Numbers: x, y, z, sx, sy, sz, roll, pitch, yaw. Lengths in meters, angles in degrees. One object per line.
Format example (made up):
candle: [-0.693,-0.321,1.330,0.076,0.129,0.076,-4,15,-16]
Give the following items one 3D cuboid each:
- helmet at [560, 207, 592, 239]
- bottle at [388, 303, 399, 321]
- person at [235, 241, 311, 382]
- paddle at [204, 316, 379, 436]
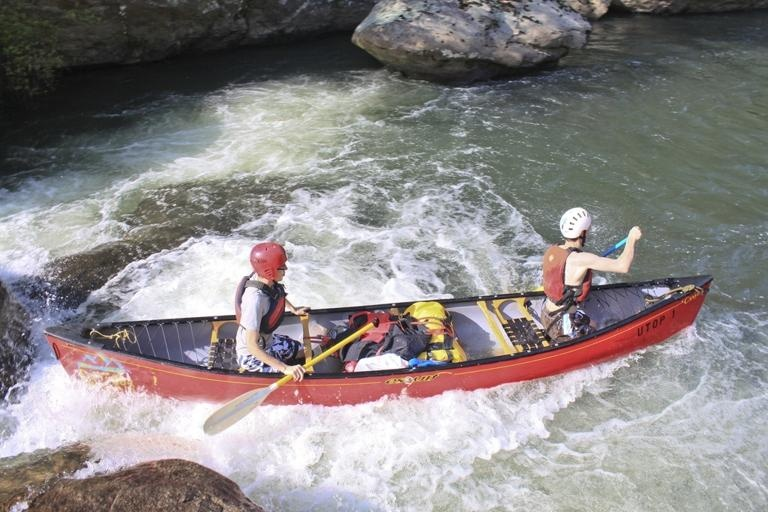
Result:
helmet: [3.140,-0.533,12.870,0.531,0.419,0.718,11,12,39]
bottle: [0.160,0.997,13.070,0.246,0.254,0.194,-1,80,2]
person: [-1.852,1.034,12.637,1.021,2.255,1.376,-1,53,-8]
paddle: [-1.569,2.071,12.549,4.105,0.429,0.311,-26,15,-12]
